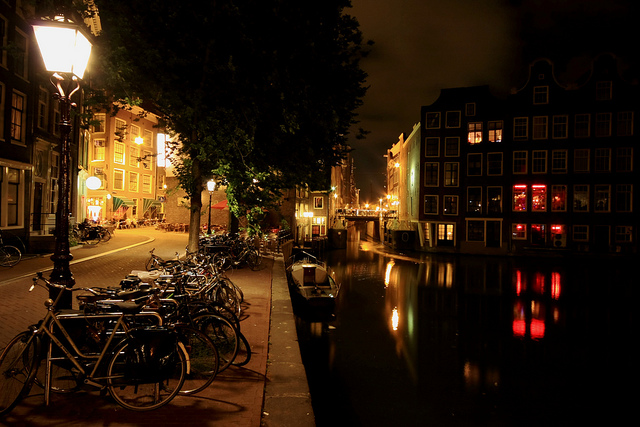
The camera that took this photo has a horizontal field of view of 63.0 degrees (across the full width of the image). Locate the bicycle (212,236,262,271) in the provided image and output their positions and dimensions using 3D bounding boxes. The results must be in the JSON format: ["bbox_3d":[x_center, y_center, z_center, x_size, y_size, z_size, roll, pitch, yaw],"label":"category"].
[{"bbox_3d":[-4.201,2.450,27.281,2.174,1.318,1.085,-5,5,-34],"label":"bicycle"}]

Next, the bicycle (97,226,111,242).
[{"bbox_3d":[-14.734,1.359,35.271,0.458,1.121,1.982,-1,2,-12],"label":"bicycle"}]

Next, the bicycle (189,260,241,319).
[{"bbox_3d":[-4.238,3.147,19.603,2.348,1.511,1.192,0,1,17],"label":"bicycle"}]

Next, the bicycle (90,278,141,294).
[{"bbox_3d":[-6.588,2.403,17.149,1.098,0.368,0.790,5,-5,-29],"label":"bicycle"}]

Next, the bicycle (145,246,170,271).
[{"bbox_3d":[-8.166,2.244,25.970,0.930,1.185,2.097,0,1,-38],"label":"bicycle"}]

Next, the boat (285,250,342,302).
[{"bbox_3d":[-0.527,4.050,31.520,2.391,1.937,4.060,-1,2,-15],"label":"boat"}]
